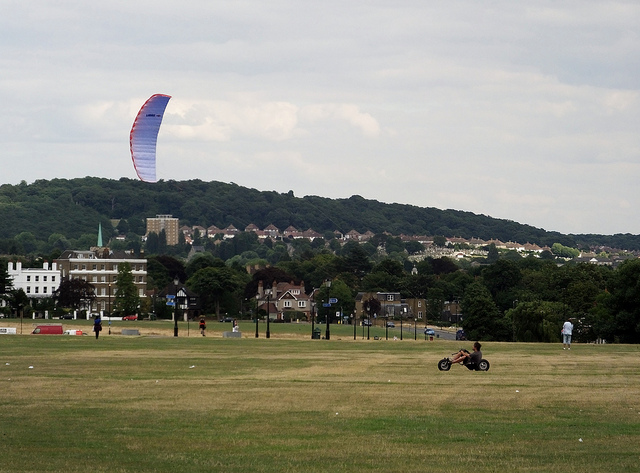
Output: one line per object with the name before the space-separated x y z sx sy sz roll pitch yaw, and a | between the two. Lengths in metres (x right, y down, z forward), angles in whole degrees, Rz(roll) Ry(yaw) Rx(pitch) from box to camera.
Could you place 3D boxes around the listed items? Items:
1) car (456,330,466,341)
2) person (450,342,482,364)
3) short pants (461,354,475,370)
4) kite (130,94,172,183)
car | 13.890 9.821 139.479 1.597 1.049 2.391 1 -3 1
person | 7.572 5.968 72.431 1.742 1.135 0.870 -2 0 9
short pants | 7.544 6.496 71.920 0.624 0.645 0.267 -2 -5 14
kite | -12.206 -6.874 99.336 2.307 6.152 2.838 1 -5 -8
